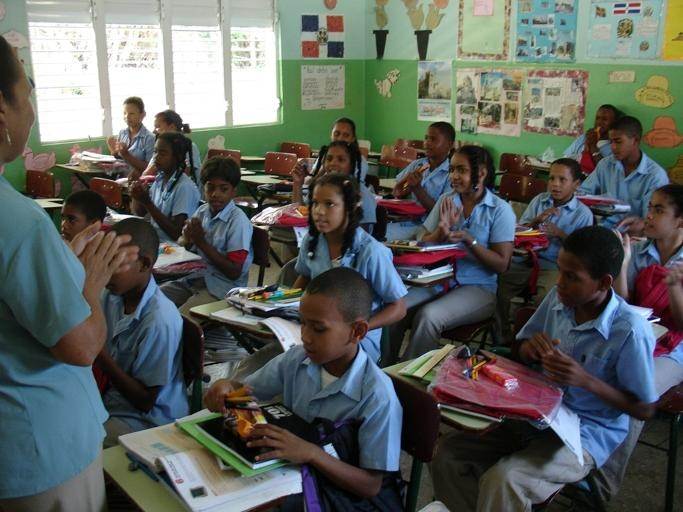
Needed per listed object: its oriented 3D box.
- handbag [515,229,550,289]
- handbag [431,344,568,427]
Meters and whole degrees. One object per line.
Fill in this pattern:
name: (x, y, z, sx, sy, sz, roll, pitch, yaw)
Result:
handbag: (1.148, 0.020, 3.260, 0.167, 0.230, 0.320, 7, 14, 33)
handbag: (0.494, 0.395, 1.715, 0.385, 0.089, 0.326, 5, 15, 26)
